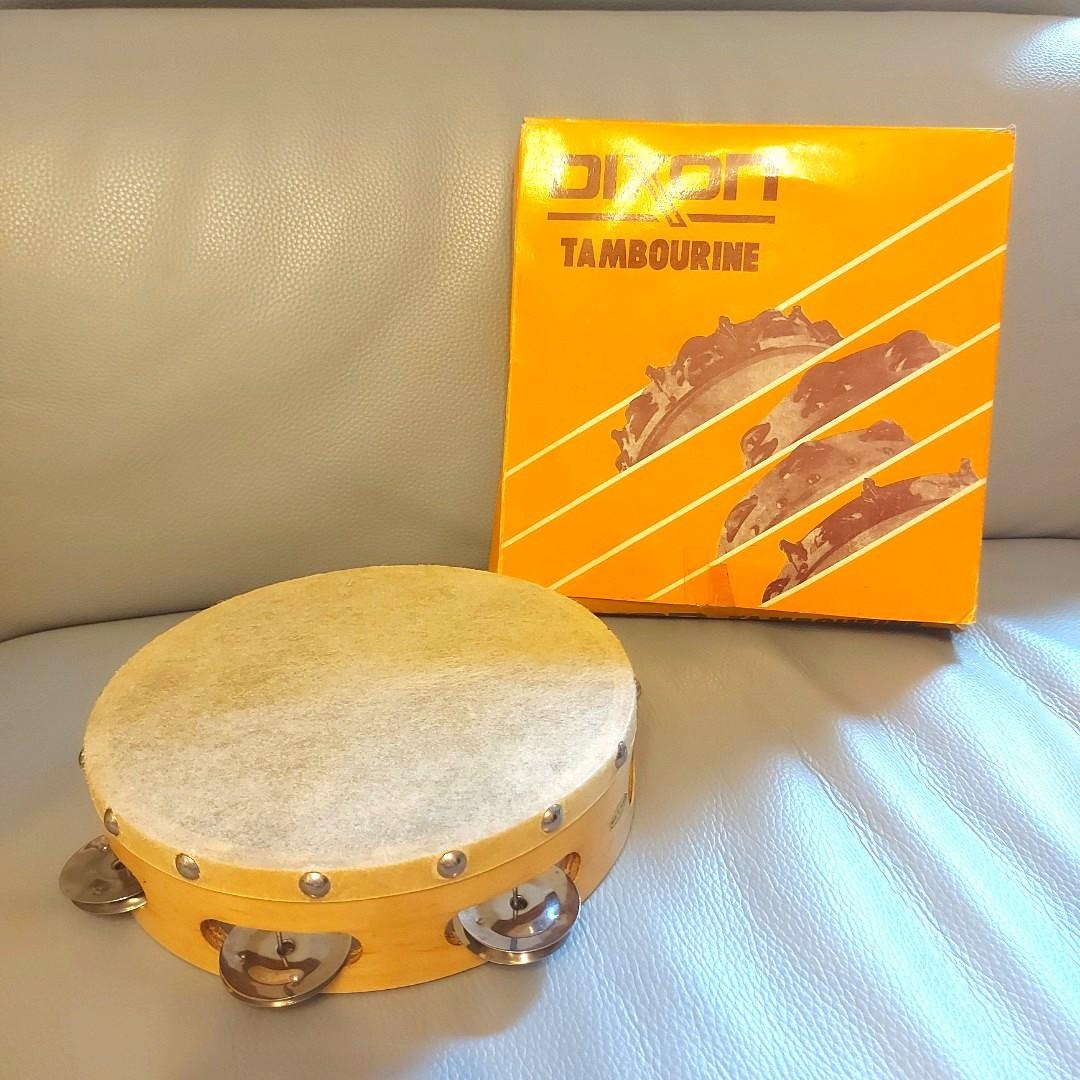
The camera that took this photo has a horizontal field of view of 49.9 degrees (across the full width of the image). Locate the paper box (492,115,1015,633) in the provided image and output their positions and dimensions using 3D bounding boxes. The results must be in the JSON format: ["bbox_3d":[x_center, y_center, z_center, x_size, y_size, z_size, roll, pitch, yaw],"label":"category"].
[{"bbox_3d":[0.208,-0.151,1.166,0.669,0.407,0.128,0,7,4],"label":"paper box"}]

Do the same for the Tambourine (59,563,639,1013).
[{"bbox_3d":[-0.113,0.139,0.872,0.389,0.083,0.384,-32,46,-22],"label":"Tambourine"}]
